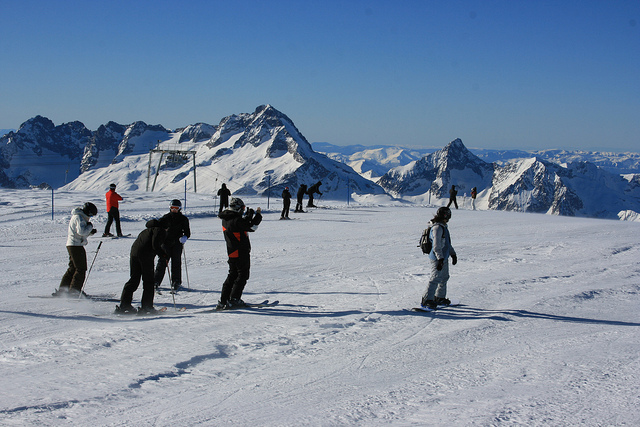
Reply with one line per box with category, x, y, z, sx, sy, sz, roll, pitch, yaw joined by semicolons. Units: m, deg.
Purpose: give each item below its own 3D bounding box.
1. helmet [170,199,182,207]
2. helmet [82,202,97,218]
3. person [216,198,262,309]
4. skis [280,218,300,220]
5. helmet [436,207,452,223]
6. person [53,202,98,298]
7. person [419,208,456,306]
helmet;-3.870;-0.295;17.149;0.232;0.241;0.518;-4;14;-18
helmet;-6.125;-0.147;17.059;0.329;0.402;0.406;14;-37;-15
person;-2.065;1.021;16.250;1.006;2.799;1.007;5;15;16
skis;-1.705;0.271;36.014;1.311;0.139;0.195;-4;-18;35
helmet;3.207;0.014;16.397;0.363;0.311;0.298;-8;17;-24
person;-6.547;0.949;17.200;1.123;2.486;1.329;-4;15;-19
person;3.082;1.125;16.477;0.870;2.518;0.807;0;14;-2
